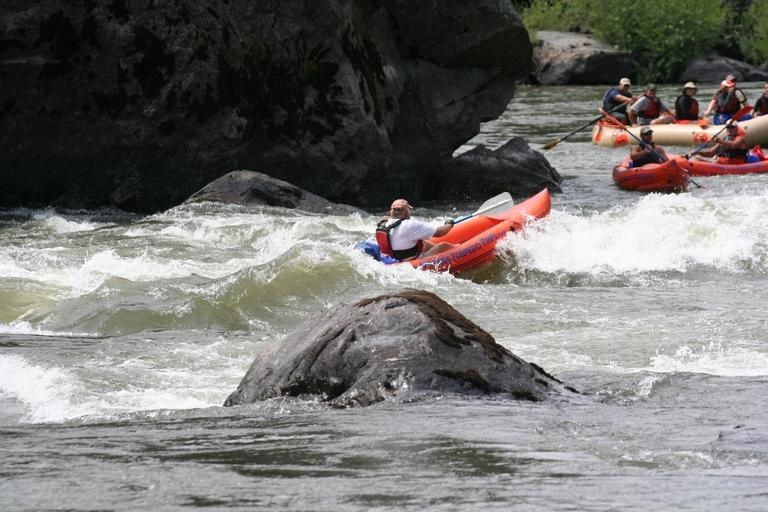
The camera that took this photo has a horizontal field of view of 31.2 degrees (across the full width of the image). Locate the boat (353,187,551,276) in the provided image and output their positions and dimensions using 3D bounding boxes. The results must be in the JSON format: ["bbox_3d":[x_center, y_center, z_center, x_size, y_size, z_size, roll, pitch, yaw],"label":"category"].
[{"bbox_3d":[1.549,-0.352,23.630,3.136,0.514,1.468,-19,23,-20],"label":"boat"}]

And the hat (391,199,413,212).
[{"bbox_3d":[0.333,-0.878,23.087,0.255,0.111,0.349,3,1,32],"label":"hat"}]

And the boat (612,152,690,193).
[{"bbox_3d":[5.664,-1.784,29.477,1.831,0.732,0.618,10,15,44],"label":"boat"}]
